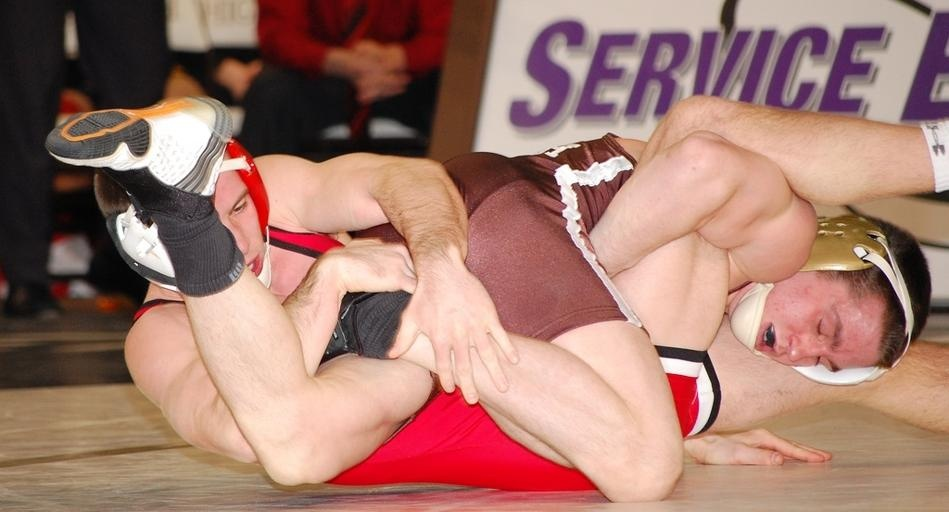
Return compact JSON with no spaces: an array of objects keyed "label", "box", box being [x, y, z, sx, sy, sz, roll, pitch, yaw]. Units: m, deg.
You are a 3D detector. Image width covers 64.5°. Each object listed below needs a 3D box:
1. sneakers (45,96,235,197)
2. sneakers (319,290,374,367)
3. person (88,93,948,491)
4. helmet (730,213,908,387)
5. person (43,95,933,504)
[{"label":"sneakers","box":[-0.766,-0.280,1.980,0.590,0.216,0.179,8,41,-14]},{"label":"sneakers","box":[-0.372,0.203,2.155,0.134,0.197,0.055,0,13,-7]},{"label":"person","box":[0.148,0.111,2.322,2.801,1.198,0.970,-3,70,1]},{"label":"helmet","box":[1.006,0.136,2.413,0.637,0.410,0.336,-12,17,5]},{"label":"person","box":[0.144,0.113,2.365,2.748,1.271,1.013,-3,71,2]}]
